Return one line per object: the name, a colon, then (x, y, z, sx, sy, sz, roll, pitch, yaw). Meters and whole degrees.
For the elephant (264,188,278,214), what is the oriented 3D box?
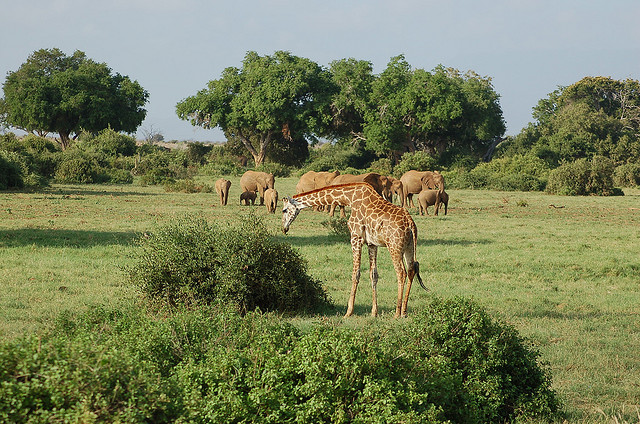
elephant: (-2.667, -0.572, 46.458, 0.573, 1.256, 0.845, 1, 3, -13)

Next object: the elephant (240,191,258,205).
elephant: (-4.220, -0.838, 50.521, 0.511, 0.631, 1.093, 9, 14, 44)

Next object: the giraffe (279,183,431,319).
giraffe: (-0.261, 0.711, 31.915, 4.241, 5.769, 9.395, 2, -3, -24)

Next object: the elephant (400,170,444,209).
elephant: (5.681, -1.510, 51.745, 3.980, 2.473, 1.726, 0, 1, 44)

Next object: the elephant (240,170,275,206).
elephant: (-3.659, -1.460, 51.822, 2.827, 1.868, 1.191, 3, 11, 35)

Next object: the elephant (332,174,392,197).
elephant: (2.456, -1.484, 45.758, 2.943, 1.679, 1.269, -3, 14, -4)

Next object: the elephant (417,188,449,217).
elephant: (6.283, -0.481, 47.655, 1.752, 1.495, 0.902, -1, 6, -11)

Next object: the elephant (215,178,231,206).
elephant: (-5.734, -1.165, 50.205, 0.738, 1.474, 2.596, 1, 4, -6)
